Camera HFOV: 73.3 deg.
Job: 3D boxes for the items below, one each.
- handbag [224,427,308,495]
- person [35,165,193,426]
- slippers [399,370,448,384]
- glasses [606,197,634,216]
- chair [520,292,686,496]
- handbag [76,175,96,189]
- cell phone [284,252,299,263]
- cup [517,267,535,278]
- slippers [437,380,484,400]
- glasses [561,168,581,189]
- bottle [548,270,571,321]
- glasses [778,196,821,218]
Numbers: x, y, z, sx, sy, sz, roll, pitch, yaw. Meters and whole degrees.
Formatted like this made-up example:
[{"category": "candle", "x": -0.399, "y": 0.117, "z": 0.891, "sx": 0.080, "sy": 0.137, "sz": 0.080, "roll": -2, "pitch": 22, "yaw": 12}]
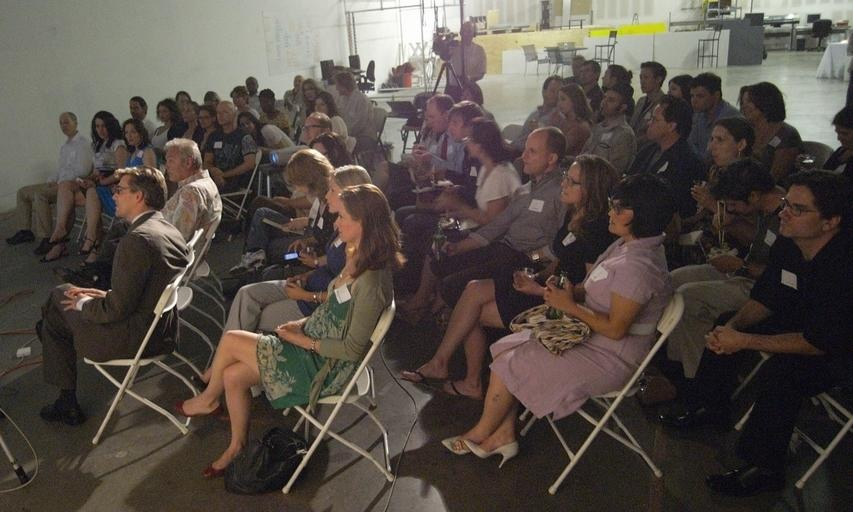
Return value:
[{"category": "handbag", "x": -1.205, "y": 1.538, "z": 4.338, "sx": 0.431, "sy": 0.218, "sz": 0.622, "roll": 32, "pitch": 29, "yaw": 19}, {"category": "person", "x": -2.570, "y": 0.402, "z": 4.714, "sx": 1.276, "sy": 1.908, "sz": 0.759, "roll": -11, "pitch": 22, "yaw": -22}, {"category": "slippers", "x": -0.018, "y": 1.062, "z": 5.003, "sx": 0.413, "sy": 0.095, "sz": 0.142, "roll": 3, "pitch": 19, "yaw": 11}, {"category": "glasses", "x": 1.401, "y": -0.350, "z": 4.154, "sx": 0.141, "sy": 0.083, "sz": 0.104, "roll": 5, "pitch": 15, "yaw": 18}, {"category": "chair", "x": 1.326, "y": 0.935, "z": 4.509, "sx": 1.046, "sy": 1.402, "sz": 0.912, "roll": 1, "pitch": 14, "yaw": -2}, {"category": "handbag", "x": -4.453, "y": -0.957, "z": 7.509, "sx": 0.129, "sy": 0.136, "sz": 0.254, "roll": -21, "pitch": 31, "yaw": 10}, {"category": "cell phone", "x": -1.247, "y": 0.013, "z": 5.327, "sx": 0.160, "sy": 0.085, "sz": 0.032, "roll": -6, "pitch": -3, "yaw": 39}, {"category": "cup", "x": 0.792, "y": 0.129, "z": 4.525, "sx": 0.115, "sy": 0.091, "sz": 0.123, "roll": 0, "pitch": 4, "yaw": 0}, {"category": "slippers", "x": 0.305, "y": 1.138, "z": 4.850, "sx": 0.350, "sy": 0.084, "sz": 0.136, "roll": 7, "pitch": 29, "yaw": 13}, {"category": "glasses", "x": 1.185, "y": -0.636, "z": 4.733, "sx": 0.159, "sy": 0.092, "sz": 0.150, "roll": -1, "pitch": 14, "yaw": 1}, {"category": "bottle", "x": 0.986, "y": 0.309, "z": 4.252, "sx": 0.113, "sy": 0.347, "sz": 0.114, "roll": -8, "pitch": 61, "yaw": 15}, {"category": "glasses", "x": 2.650, "y": -0.347, "z": 4.062, "sx": 0.251, "sy": 0.127, "sz": 0.091, "roll": 11, "pitch": 24, "yaw": 33}]
